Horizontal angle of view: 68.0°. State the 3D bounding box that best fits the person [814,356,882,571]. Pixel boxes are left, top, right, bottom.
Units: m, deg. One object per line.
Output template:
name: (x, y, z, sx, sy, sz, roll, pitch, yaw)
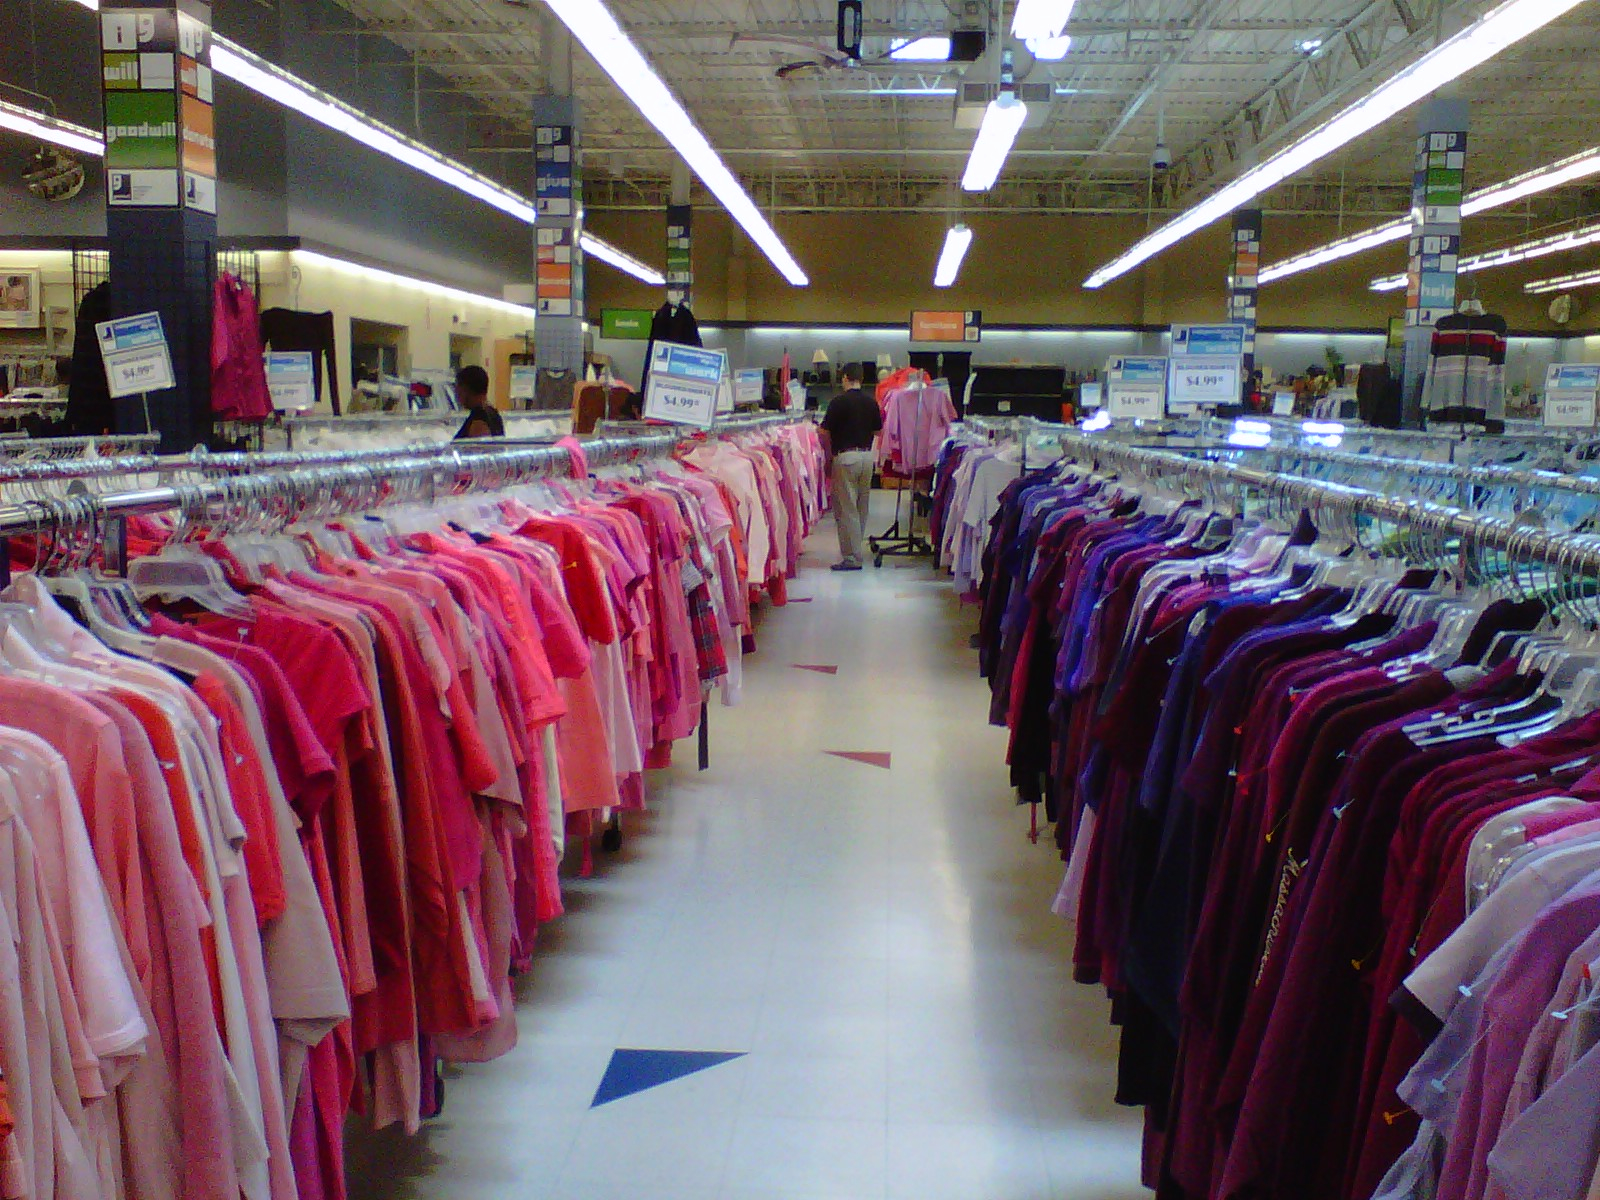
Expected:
person: (0.531, -1.188, 11.763, 0.523, 1.763, 1.157, 1, 11, 3)
